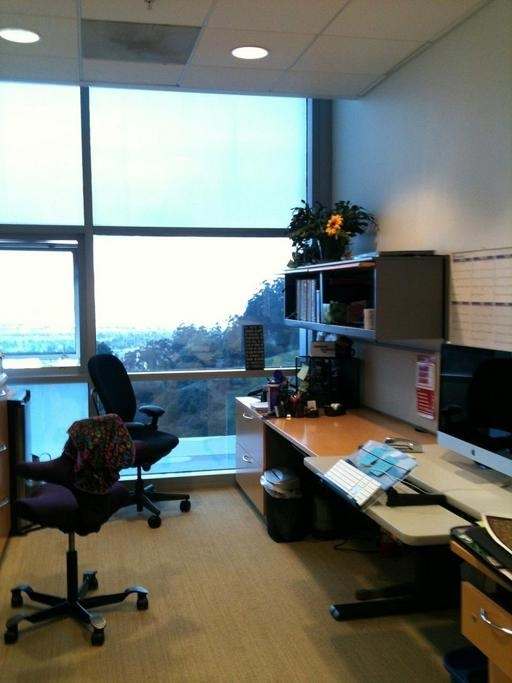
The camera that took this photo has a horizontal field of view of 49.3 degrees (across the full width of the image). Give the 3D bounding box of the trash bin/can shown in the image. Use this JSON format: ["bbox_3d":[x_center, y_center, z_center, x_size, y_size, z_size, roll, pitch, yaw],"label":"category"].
[{"bbox_3d":[0.249,0.960,3.481,0.482,0.428,0.360,-1,5,-21],"label":"trash bin/can"}]

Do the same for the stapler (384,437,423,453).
[{"bbox_3d":[0.659,0.461,2.477,0.110,0.031,0.078,1,0,-2],"label":"stapler"}]

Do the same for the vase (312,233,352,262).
[{"bbox_3d":[0.496,-0.592,3.571,0.225,0.151,0.194,0,0,2],"label":"vase"}]
